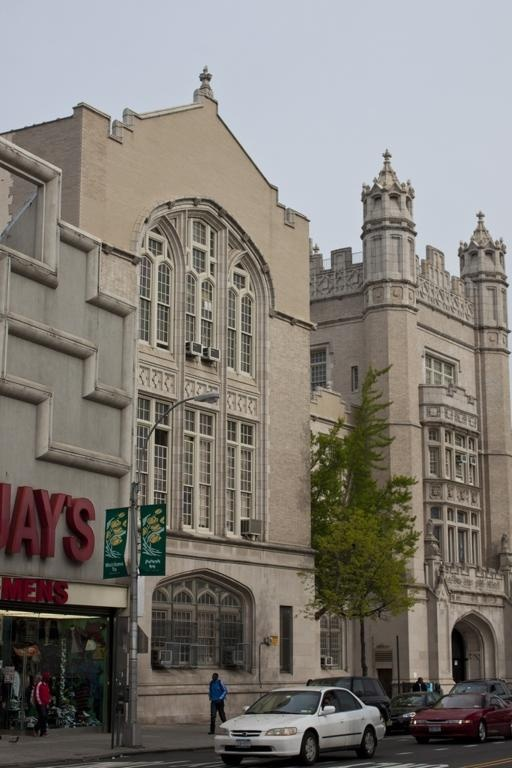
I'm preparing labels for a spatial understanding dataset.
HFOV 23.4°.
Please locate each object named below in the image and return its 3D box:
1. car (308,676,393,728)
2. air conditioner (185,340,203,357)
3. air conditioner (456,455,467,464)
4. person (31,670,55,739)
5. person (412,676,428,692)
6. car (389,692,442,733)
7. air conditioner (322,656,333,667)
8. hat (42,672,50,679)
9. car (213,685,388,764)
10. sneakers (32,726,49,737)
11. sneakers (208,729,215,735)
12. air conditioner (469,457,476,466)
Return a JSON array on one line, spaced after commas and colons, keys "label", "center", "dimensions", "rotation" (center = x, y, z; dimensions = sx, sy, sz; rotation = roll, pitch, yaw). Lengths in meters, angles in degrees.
[{"label": "car", "center": [2.419, 8.707, 33.269], "dimensions": [1.263, 1.450, 2.783], "rotation": [-2, -6, -21]}, {"label": "air conditioner", "center": [-1.957, -1.082, 39.063], "dimensions": [0.433, 0.371, 0.473], "rotation": [-8, -11, 30]}, {"label": "air conditioner", "center": [10.301, 3.792, 62.384], "dimensions": [0.377, 0.578, 0.491], "rotation": [2, -5, 1]}, {"label": "person", "center": [-5.070, 7.589, 29.315], "dimensions": [0.421, 1.464, 2.098], "rotation": [2, -16, -9]}, {"label": "person", "center": [6.216, 11.411, 47.104], "dimensions": [0.495, 0.545, 1.837], "rotation": [-2, -16, 7]}, {"label": "car", "center": [4.343, 9.359, 35.640], "dimensions": [1.198, 0.925, 2.618], "rotation": [-11, -25, 19]}, {"label": "air conditioner", "center": [2.872, 11.333, 50.358], "dimensions": [0.260, 0.524, 1.085], "rotation": [-5, -17, 16]}, {"label": "hat", "center": [-4.986, 6.911, 29.288], "dimensions": [0.139, 0.211, 0.198], "rotation": [-1, 5, 8]}, {"label": "car", "center": [0.819, 6.326, 23.037], "dimensions": [1.482, 1.422, 3.656], "rotation": [-11, -19, 33]}, {"label": "sneakers", "center": [-5.113, 8.291, 29.352], "dimensions": [0.245, 0.213, 0.601], "rotation": [-18, -10, -23]}, {"label": "sneakers", "center": [-1.150, 8.964, 31.822], "dimensions": [0.221, 0.174, 0.076], "rotation": [-2, -13, 27]}, {"label": "air conditioner", "center": [11.026, 3.988, 63.321], "dimensions": [0.192, 0.394, 0.394], "rotation": [-5, -11, 28]}]
